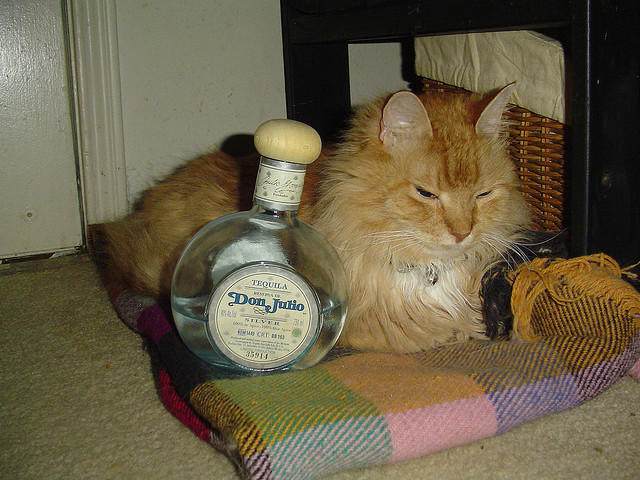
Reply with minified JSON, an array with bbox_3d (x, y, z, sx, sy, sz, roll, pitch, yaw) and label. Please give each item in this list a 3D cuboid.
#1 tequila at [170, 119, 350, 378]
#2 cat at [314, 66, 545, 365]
[{"bbox_3d":[-0.120,0.012,1.204,0.432,0.528,0.304,5,21,-17],"label":"tequila"},{"bbox_3d":[0.259,-0.123,1.512,0.573,0.677,0.713,-7,23,-19],"label":"cat"}]
